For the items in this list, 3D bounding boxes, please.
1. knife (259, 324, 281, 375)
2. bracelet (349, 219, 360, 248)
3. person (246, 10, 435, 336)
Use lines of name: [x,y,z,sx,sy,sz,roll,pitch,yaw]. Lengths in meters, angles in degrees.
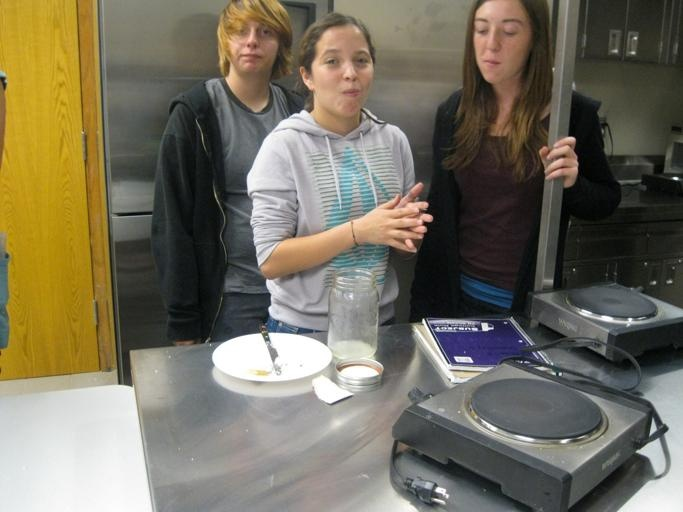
knife: [-0.163,0.222,1.356,0.030,0.010,0.184,10,20,-16]
bracelet: [0.038,-0.067,1.575,0.026,0.068,0.023,2,13,17]
person: [-0.008,-0.249,1.729,0.541,0.970,0.473,0,13,8]
